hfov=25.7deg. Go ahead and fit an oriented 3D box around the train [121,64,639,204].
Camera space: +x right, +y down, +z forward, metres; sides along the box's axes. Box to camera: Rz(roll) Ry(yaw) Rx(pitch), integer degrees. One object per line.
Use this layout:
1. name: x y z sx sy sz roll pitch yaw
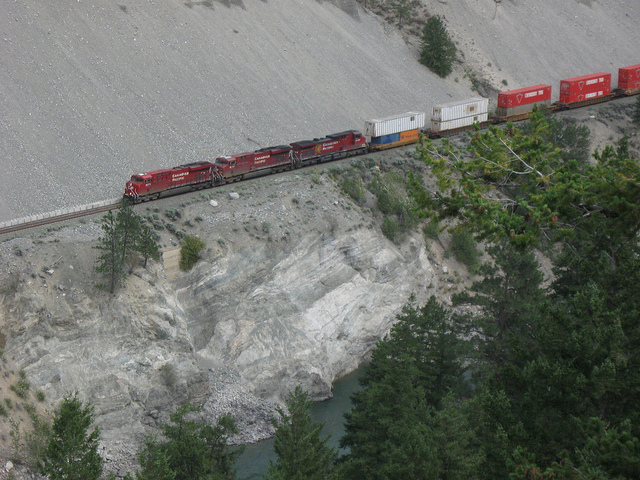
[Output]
1. train: 4.226 -12.457 165.597 13.446 2.428 65.032 12 32 42
